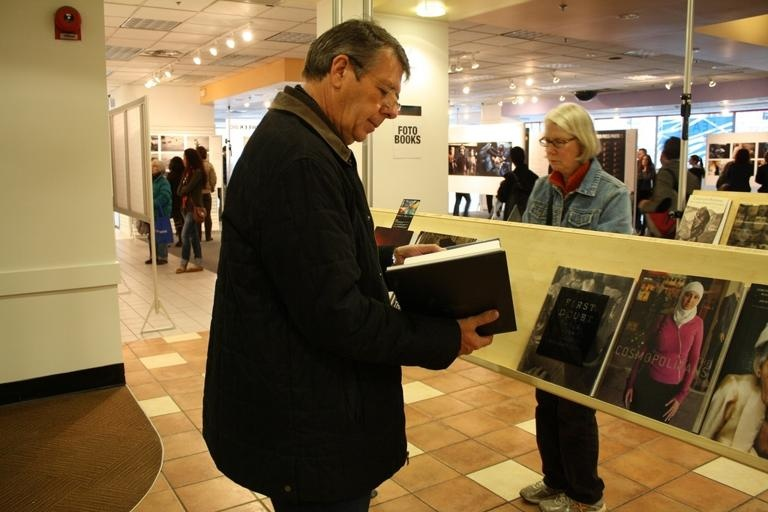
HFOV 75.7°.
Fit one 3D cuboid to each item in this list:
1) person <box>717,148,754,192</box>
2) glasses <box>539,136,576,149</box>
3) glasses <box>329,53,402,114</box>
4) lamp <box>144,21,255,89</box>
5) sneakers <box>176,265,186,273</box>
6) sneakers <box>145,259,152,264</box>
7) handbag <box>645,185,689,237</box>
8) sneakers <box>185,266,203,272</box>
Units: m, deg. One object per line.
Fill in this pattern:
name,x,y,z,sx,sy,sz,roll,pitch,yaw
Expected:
person,5.998,-1.457,8.296,0.291,0.692,0.540,6,12,30
glasses,0.965,-0.610,2.651,0.146,0.041,0.139,-4,6,-33
glasses,-0.065,-0.532,1.565,0.200,0.238,0.192,0,18,-6
lamp,-3.871,-4.270,10.449,2.050,0.242,0.212,-25,46,20
sneakers,-3.697,0.237,8.983,0.149,0.112,0.151,1,11,6
sneakers,-4.569,0.093,9.617,0.096,0.091,0.128,1,-3,38
handbag,2.695,-0.426,4.693,0.208,0.565,0.408,20,16,7
sneakers,-3.503,0.231,9.145,0.295,0.111,0.102,2,2,-31
